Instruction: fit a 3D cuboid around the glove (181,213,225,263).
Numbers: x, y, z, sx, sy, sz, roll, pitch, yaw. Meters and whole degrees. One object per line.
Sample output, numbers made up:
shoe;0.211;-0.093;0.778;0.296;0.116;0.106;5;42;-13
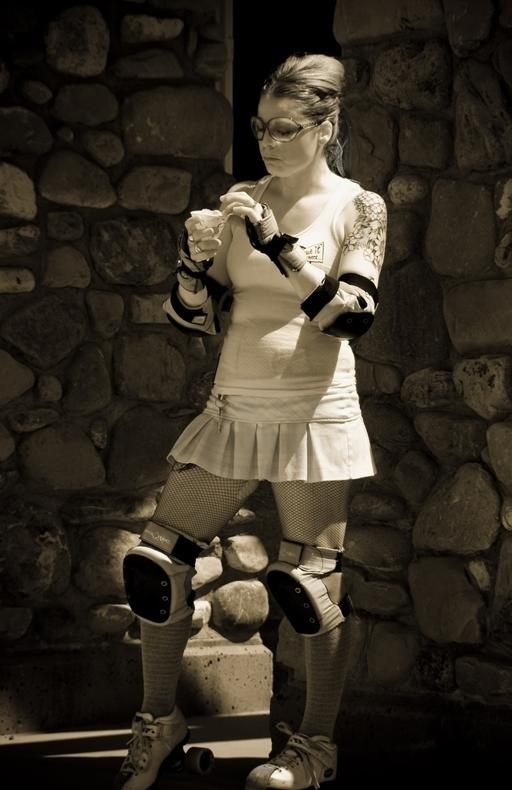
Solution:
glove;-0.102;-0.312;1.559;0.070;0.104;0.079;2;16;-13

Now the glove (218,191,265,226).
glove;-0.021;-0.347;1.465;0.040;0.053;0.105;-8;20;-40

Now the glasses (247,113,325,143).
glasses;0.062;-0.511;1.547;0.093;0.029;0.076;-11;20;-34
